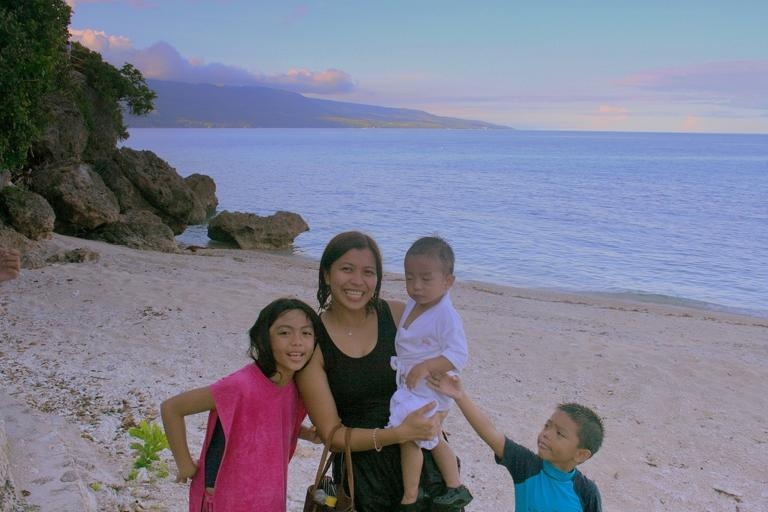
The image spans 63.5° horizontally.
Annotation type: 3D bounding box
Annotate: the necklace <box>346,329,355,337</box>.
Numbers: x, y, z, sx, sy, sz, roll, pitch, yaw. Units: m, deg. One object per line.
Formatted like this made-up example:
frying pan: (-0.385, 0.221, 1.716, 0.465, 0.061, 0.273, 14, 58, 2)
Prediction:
necklace: (-0.376, 0.844, 6.756, 0.085, 0.078, 0.031, -1, 0, -9)

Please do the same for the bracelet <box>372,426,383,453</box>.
bracelet: (-0.088, 1.988, 6.664, 0.055, 0.201, 0.166, -4, -8, 20)
